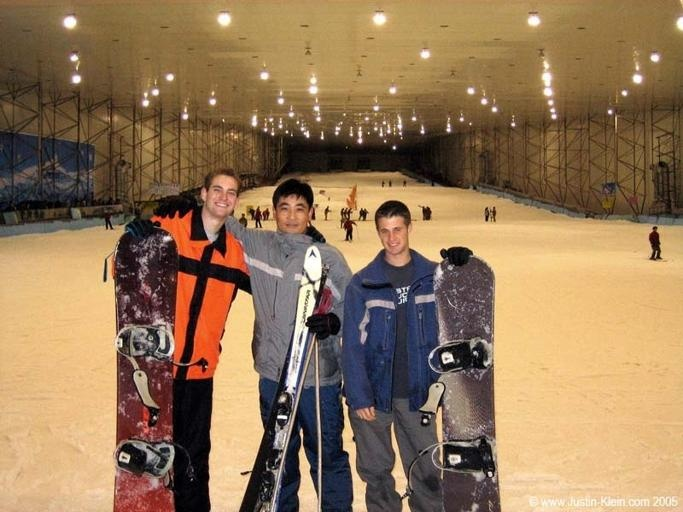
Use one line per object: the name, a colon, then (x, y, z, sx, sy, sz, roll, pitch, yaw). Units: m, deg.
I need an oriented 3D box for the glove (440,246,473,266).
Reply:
glove: (0.692, -0.002, 3.526, 0.172, 0.117, 0.222, 3, 11, 13)

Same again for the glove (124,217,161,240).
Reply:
glove: (-1.232, -0.152, 3.529, 0.135, 0.048, 0.136, 36, 38, 28)

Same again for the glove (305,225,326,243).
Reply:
glove: (-0.165, -0.133, 3.725, 0.042, 0.080, 0.148, -13, 29, -27)
